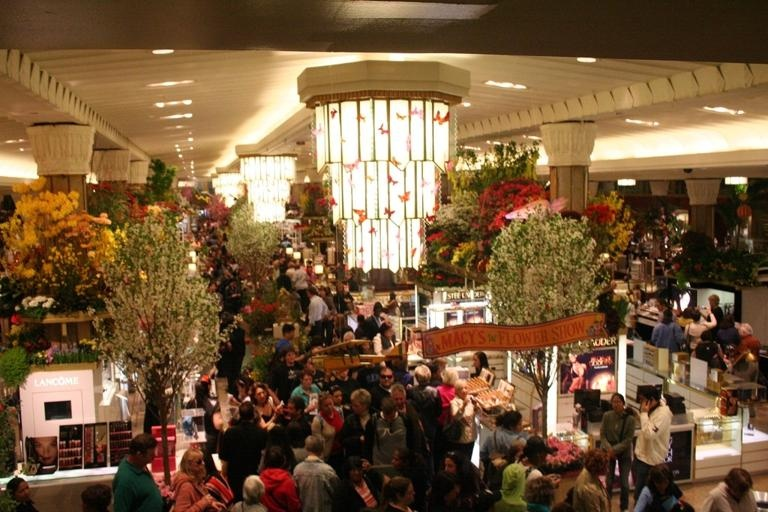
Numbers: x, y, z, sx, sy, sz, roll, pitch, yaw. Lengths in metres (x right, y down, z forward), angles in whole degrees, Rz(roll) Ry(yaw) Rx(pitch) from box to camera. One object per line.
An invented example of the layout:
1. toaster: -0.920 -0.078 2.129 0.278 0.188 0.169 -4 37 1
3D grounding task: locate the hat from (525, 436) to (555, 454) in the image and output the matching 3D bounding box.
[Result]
1. hat: 1.637 2.026 7.717 0.209 0.182 0.206 -5 -6 9
